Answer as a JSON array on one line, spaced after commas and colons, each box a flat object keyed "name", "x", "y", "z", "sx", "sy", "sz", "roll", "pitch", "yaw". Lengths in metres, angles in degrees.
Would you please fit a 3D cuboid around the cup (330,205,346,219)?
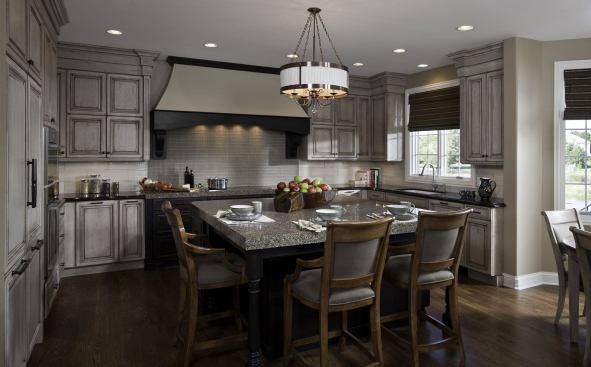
[{"name": "cup", "x": 0.486, "y": 0.295, "z": 4.246, "sx": 0.158, "sy": 0.103, "sz": 0.099, "roll": 1, "pitch": -1, "yaw": -18}]

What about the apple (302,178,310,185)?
[{"name": "apple", "x": 0.128, "y": -0.020, "z": 4.579, "sx": 0.079, "sy": 0.074, "sz": 0.076, "roll": -12, "pitch": 20, "yaw": -17}]

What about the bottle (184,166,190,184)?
[{"name": "bottle", "x": -1.830, "y": -0.148, "z": 6.517, "sx": 0.096, "sy": 0.289, "sz": 0.196, "roll": -3, "pitch": 4, "yaw": -18}]

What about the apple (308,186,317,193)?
[{"name": "apple", "x": 0.195, "y": 0.067, "z": 4.444, "sx": 0.087, "sy": 0.069, "sz": 0.082, "roll": -2, "pitch": 3, "yaw": 2}]

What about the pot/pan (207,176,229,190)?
[{"name": "pot/pan", "x": -1.326, "y": -0.004, "z": 6.604, "sx": 0.328, "sy": 0.194, "sz": 0.362, "roll": -3, "pitch": 3, "yaw": -15}]

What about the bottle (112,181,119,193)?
[{"name": "bottle", "x": -2.834, "y": 0.052, "z": 6.128, "sx": 0.097, "sy": 0.180, "sz": 0.185, "roll": -4, "pitch": 4, "yaw": -25}]

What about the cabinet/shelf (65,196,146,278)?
[{"name": "cabinet/shelf", "x": -2.861, "y": 0.764, "z": 5.751, "sx": 1.232, "sy": 1.071, "sz": 0.637, "roll": 0, "pitch": -3, "yaw": -24}]

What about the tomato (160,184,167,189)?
[{"name": "tomato", "x": -2.102, "y": 0.050, "z": 6.202, "sx": 0.076, "sy": 0.045, "sz": 0.084, "roll": 0, "pitch": 0, "yaw": -4}]

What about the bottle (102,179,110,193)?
[{"name": "bottle", "x": -2.956, "y": 0.045, "z": 6.065, "sx": 0.122, "sy": 0.221, "sz": 0.202, "roll": -4, "pitch": 4, "yaw": -26}]

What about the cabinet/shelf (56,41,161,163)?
[{"name": "cabinet/shelf", "x": -2.857, "y": -1.245, "z": 5.804, "sx": 1.898, "sy": 1.730, "sz": 0.892, "roll": 0, "pitch": -1, "yaw": -25}]

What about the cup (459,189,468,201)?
[{"name": "cup", "x": 2.498, "y": 0.171, "z": 5.827, "sx": 0.162, "sy": 0.106, "sz": 0.141, "roll": -2, "pitch": -1, "yaw": 18}]

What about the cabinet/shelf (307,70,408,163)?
[{"name": "cabinet/shelf", "x": 1.101, "y": -1.193, "z": 6.821, "sx": 1.688, "sy": 1.440, "sz": 0.831, "roll": 1, "pitch": -4, "yaw": -21}]

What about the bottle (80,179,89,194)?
[{"name": "bottle", "x": -3.237, "y": 0.049, "z": 5.963, "sx": 0.113, "sy": 0.212, "sz": 0.101, "roll": -4, "pitch": 4, "yaw": -28}]

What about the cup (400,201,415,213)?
[{"name": "cup", "x": 1.204, "y": 0.248, "z": 4.321, "sx": 0.214, "sy": 0.143, "sz": 0.145, "roll": 0, "pitch": 1, "yaw": 30}]

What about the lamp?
[{"name": "lamp", "x": 0.271, "y": -1.573, "z": 5.299, "sx": 0.818, "sy": 1.123, "sz": 2.189, "roll": -2, "pitch": 3, "yaw": 4}]

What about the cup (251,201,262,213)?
[{"name": "cup", "x": -0.415, "y": 0.249, "z": 4.200, "sx": 0.092, "sy": 0.119, "sz": 0.139, "roll": -1, "pitch": 0, "yaw": -2}]

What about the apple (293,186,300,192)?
[{"name": "apple", "x": 0.019, "y": 0.058, "z": 4.450, "sx": 0.078, "sy": 0.062, "sz": 0.096, "roll": -3, "pitch": 3, "yaw": -19}]

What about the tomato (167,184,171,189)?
[{"name": "tomato", "x": -2.023, "y": 0.044, "z": 6.213, "sx": 0.064, "sy": 0.071, "sz": 0.065, "roll": -6, "pitch": -5, "yaw": 34}]

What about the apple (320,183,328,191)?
[{"name": "apple", "x": 0.339, "y": 0.043, "z": 4.516, "sx": 0.080, "sy": 0.058, "sz": 0.100, "roll": -1, "pitch": -4, "yaw": -7}]

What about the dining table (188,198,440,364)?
[{"name": "dining table", "x": -0.206, "y": 0.897, "z": 4.357, "sx": 1.812, "sy": 1.041, "sz": 1.742, "roll": 0, "pitch": -2, "yaw": -26}]

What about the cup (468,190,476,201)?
[{"name": "cup", "x": 2.632, "y": 0.174, "z": 5.787, "sx": 0.147, "sy": 0.156, "sz": 0.151, "roll": -1, "pitch": -5, "yaw": 0}]

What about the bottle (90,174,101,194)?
[{"name": "bottle", "x": -3.103, "y": 0.006, "z": 6.038, "sx": 0.167, "sy": 0.300, "sz": 0.204, "roll": -4, "pitch": 4, "yaw": -26}]

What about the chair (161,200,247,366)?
[{"name": "chair", "x": -0.945, "y": 0.969, "z": 4.107, "sx": 0.755, "sy": 1.610, "sz": 0.943, "roll": -3, "pitch": 4, "yaw": -14}]

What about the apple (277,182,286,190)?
[{"name": "apple", "x": -0.171, "y": 0.026, "z": 4.571, "sx": 0.100, "sy": 0.092, "sz": 0.095, "roll": 2, "pitch": -4, "yaw": -11}]
